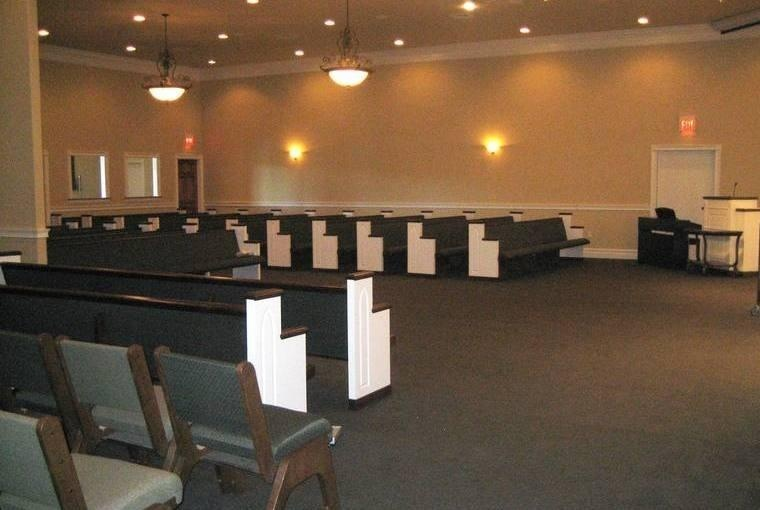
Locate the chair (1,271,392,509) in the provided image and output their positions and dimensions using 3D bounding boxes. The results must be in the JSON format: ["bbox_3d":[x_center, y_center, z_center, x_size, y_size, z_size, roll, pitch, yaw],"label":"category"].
[{"bbox_3d":[-1.827,0.613,5.026,3.710,1.115,1.712,3,9,23],"label":"chair"}]

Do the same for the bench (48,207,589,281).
[{"bbox_3d":[0.968,-0.212,10.867,5.905,1.010,2.586,0,9,9],"label":"bench"}]

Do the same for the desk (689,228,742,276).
[{"bbox_3d":[5.695,-0.035,9.645,0.836,0.558,0.485,0,2,45],"label":"desk"}]

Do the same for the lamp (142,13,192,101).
[{"bbox_3d":[-4.521,-4.188,12.164,0.916,1.719,0.891,1,25,-15],"label":"lamp"}]
